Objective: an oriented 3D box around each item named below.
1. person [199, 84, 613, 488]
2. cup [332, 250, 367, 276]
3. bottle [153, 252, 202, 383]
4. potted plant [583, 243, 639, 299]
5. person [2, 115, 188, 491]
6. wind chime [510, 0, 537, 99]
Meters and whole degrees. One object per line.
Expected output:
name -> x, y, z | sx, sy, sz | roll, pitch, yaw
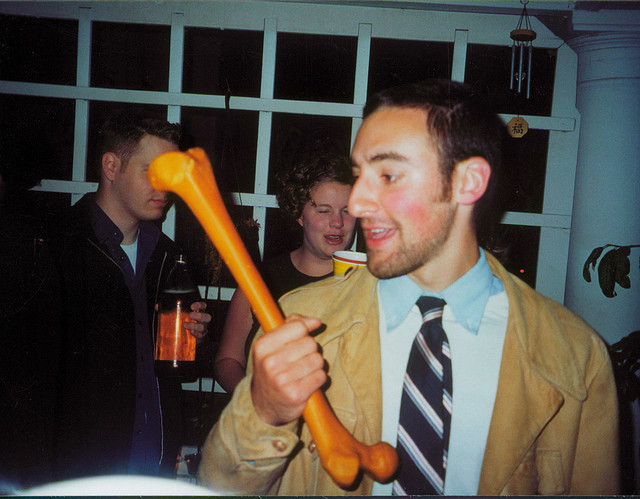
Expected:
person -> 0.382, 0.163, 2.487 | 1.503, 1.587, 0.583 | 3, 4, -20
cup -> 0.125, 0.071, 2.768 | 0.136, 0.101, 0.338 | 5, 4, 2
bottle -> -0.694, 0.364, 3.201 | 0.232, 0.688, 0.396 | 3, 4, -13
potted plant -> 1.336, 0.085, 3.045 | 0.227, 0.260, 0.117 | 10, 12, -17
person -> -1.015, 0.237, 3.134 | 0.856, 1.796, 0.454 | 2, 4, -29
wind chime -> 0.918, -0.913, 2.956 | 0.108, 0.297, 0.218 | 5, 4, 17
